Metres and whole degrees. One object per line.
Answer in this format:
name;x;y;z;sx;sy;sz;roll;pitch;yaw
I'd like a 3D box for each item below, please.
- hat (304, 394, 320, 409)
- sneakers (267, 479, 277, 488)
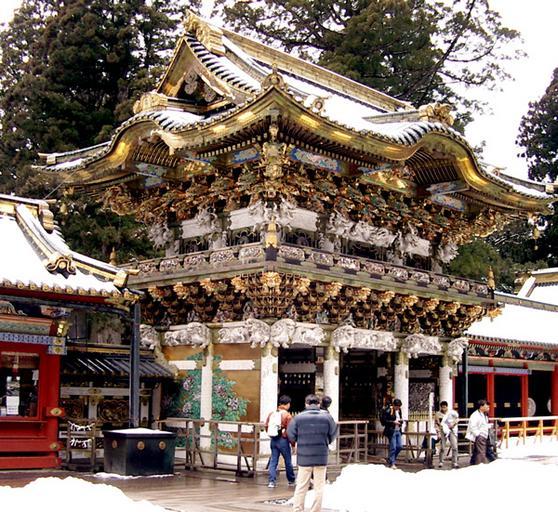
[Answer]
hat;0.550;2.432;16.695;0.269;0.288;0.289;0;-42;2
sneakers;-0.147;4.551;20.374;0.144;0.167;0.414;-2;-18;12
